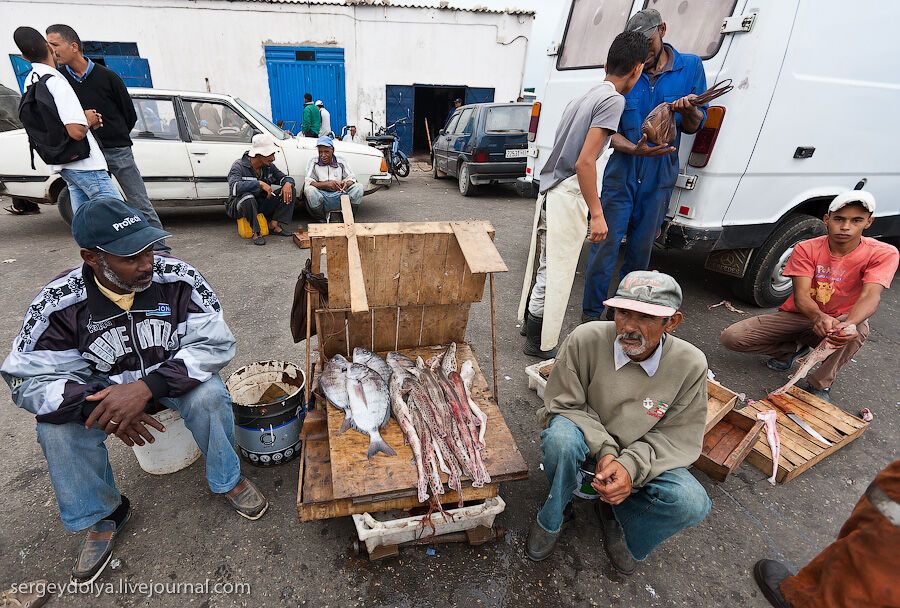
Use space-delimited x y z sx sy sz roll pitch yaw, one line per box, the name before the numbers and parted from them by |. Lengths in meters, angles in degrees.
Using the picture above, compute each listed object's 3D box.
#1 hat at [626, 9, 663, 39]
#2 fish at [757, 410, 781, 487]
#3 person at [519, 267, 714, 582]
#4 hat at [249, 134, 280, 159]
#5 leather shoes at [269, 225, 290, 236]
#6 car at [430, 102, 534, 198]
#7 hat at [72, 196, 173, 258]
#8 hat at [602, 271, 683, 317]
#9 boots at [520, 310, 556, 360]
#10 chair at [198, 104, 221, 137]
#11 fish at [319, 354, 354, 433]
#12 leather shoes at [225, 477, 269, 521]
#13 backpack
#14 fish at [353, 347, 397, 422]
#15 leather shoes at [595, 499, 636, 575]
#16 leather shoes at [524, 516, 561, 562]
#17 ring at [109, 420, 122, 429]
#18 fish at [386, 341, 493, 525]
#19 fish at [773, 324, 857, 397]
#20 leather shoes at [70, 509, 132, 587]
hat | 1.714 -2.498 4.563 0.265 0.218 0.484 20 33 25
fish | 2.615 1.129 4.138 0.166 0.025 0.541 -6 52 28
person | 1.228 0.818 3.533 1.076 1.890 1.008 4 30 0
hat | -2.521 -2.146 6.955 0.337 0.179 0.336 28 40 32
leather shoes | -2.499 -1.090 7.589 0.330 0.117 0.127 5 35 1
car | 0.642 -3.015 9.831 1.461 1.355 2.713 -2 41 -15
hat | -2.206 -0.510 3.439 0.580 0.241 0.393 10 25 7
hat | 1.320 -0.093 3.429 0.408 0.185 0.319 -3 11 -26
boots | 0.874 0.301 4.981 0.375 0.454 0.226 -25 41 -37
chair | -3.400 -2.599 7.302 0.312 0.436 0.368 -12 82 -31
fish | -0.845 0.612 3.863 0.374 0.165 0.591 -3 57 -9
leather shoes | -1.490 1.452 3.843 0.356 0.131 0.206 38 73 13
backpack | -3.822 -1.748 4.897 0.535 0.807 0.339 14 32 16
fish | -0.598 0.522 4.052 0.324 0.174 0.803 0 30 -12
leather shoes | 1.164 1.673 3.678 0.150 0.175 0.432 -8 30 -4
leather shoes | 0.651 1.680 3.636 0.176 0.128 0.317 28 58 18
ring | -2.234 0.797 3.424 0.066 0.057 0.023 -7 32 -19
fish | -0.064 0.829 3.754 0.640 0.206 0.957 -3 47 -14
fish | 3.350 0.509 4.692 0.246 0.697 0.172 35 11 18
leather shoes | -2.375 1.630 3.555 0.176 0.207 0.513 17 49 -7
